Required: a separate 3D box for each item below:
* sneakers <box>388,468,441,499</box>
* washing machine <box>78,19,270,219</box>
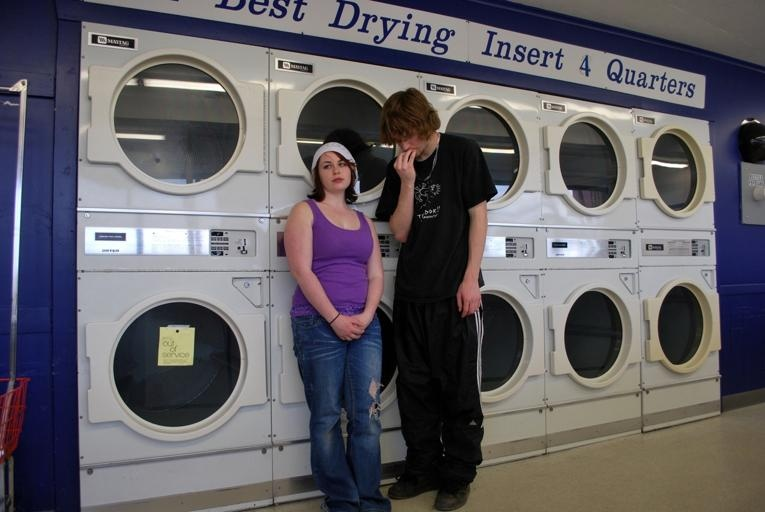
[{"bbox_3d":[0.191,1.454,3.668,0.359,0.157,0.134,-2,4,-17],"label":"sneakers"},{"bbox_3d":[-1.335,-0.835,3.464,1.176,1.161,0.615,1,-5,-20],"label":"washing machine"}]
